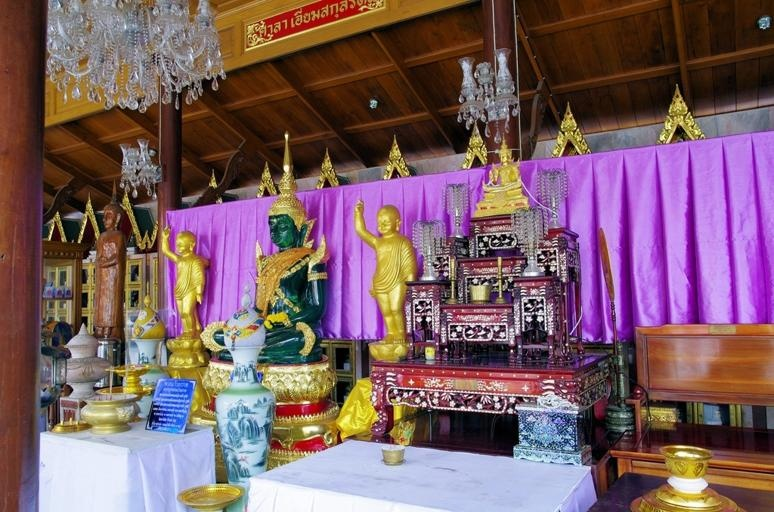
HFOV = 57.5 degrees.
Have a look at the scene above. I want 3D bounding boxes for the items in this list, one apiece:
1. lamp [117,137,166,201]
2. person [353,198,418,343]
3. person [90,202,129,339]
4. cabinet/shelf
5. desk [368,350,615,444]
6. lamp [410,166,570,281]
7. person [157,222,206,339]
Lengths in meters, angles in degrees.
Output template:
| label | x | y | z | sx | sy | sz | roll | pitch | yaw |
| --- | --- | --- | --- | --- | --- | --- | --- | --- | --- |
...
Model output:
| label | x | y | z | sx | sy | sz | roll | pitch | yaw |
| --- | --- | --- | --- | --- | --- | --- | --- | --- | --- |
| lamp | -2.290 | -0.839 | 6.674 | 0.347 | 0.532 | 1.060 | -4 | 4 | -18 |
| person | 0.056 | 0.092 | 4.608 | 0.292 | 0.901 | 0.703 | -4 | 4 | -24 |
| person | -2.443 | 0.149 | 6.242 | 0.296 | 1.255 | 0.446 | -4 | 4 | -21 |
| cabinet/shelf | -4.302 | 0.378 | 9.549 | 0.605 | 1.204 | 1.202 | -4 | 4 | -26 |
| desk | 0.585 | 0.819 | 4.070 | 1.345 | 0.453 | 0.474 | -2 | 4 | 12 |
| lamp | 0.641 | -0.211 | 4.272 | 0.991 | 0.715 | 0.543 | -2 | 4 | 15 |
| person | -1.612 | 0.225 | 5.745 | 0.347 | 0.847 | 0.262 | -3 | 3 | -5 |
